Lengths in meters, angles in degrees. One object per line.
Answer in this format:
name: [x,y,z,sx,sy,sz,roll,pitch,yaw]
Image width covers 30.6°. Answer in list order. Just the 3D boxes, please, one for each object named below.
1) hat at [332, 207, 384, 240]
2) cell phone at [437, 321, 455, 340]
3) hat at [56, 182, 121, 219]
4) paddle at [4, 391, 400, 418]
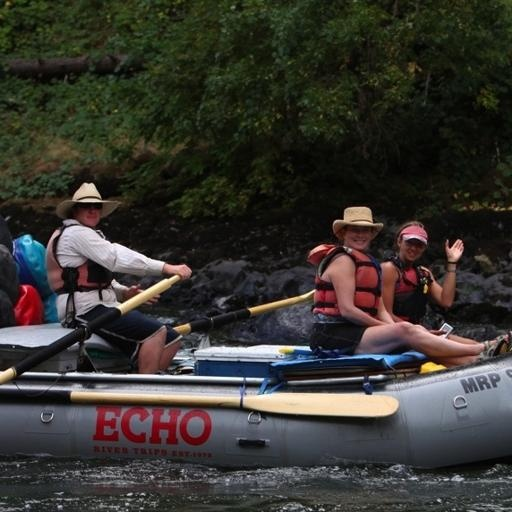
hat: [0.824,-0.260,7.490,0.450,0.150,0.424,-2,-19,6]
cell phone: [1.559,0.604,7.440,0.041,0.132,0.163,29,-16,-28]
hat: [-1.428,-0.465,7.982,0.520,0.163,0.506,-4,-19,-4]
paddle: [-0.261,1.086,6.799,2.933,0.074,0.250,1,-5,6]
